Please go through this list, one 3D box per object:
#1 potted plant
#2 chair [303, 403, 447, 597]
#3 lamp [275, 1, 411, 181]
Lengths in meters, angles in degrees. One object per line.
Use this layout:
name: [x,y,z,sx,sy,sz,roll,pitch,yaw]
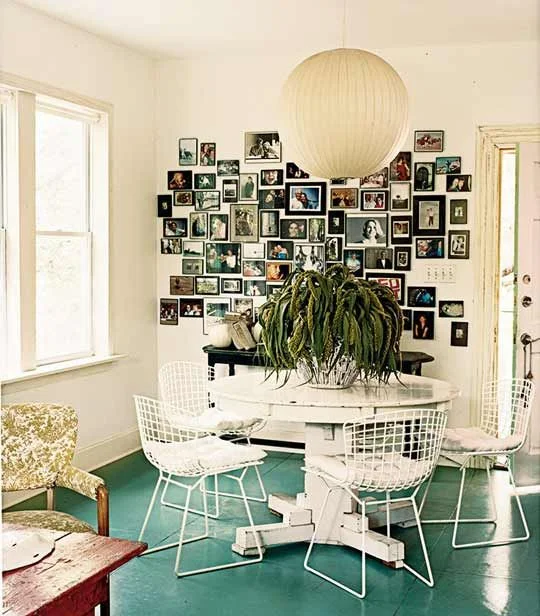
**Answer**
potted plant: [0.277,0.108,2.735,0.615,0.574,0.647,1,-2,-23]
chair: [0.529,0.848,2.905,0.646,0.831,1.582,0,-1,10]
lamp: [0.323,-0.999,2.627,0.577,0.927,0.593,0,8,4]
